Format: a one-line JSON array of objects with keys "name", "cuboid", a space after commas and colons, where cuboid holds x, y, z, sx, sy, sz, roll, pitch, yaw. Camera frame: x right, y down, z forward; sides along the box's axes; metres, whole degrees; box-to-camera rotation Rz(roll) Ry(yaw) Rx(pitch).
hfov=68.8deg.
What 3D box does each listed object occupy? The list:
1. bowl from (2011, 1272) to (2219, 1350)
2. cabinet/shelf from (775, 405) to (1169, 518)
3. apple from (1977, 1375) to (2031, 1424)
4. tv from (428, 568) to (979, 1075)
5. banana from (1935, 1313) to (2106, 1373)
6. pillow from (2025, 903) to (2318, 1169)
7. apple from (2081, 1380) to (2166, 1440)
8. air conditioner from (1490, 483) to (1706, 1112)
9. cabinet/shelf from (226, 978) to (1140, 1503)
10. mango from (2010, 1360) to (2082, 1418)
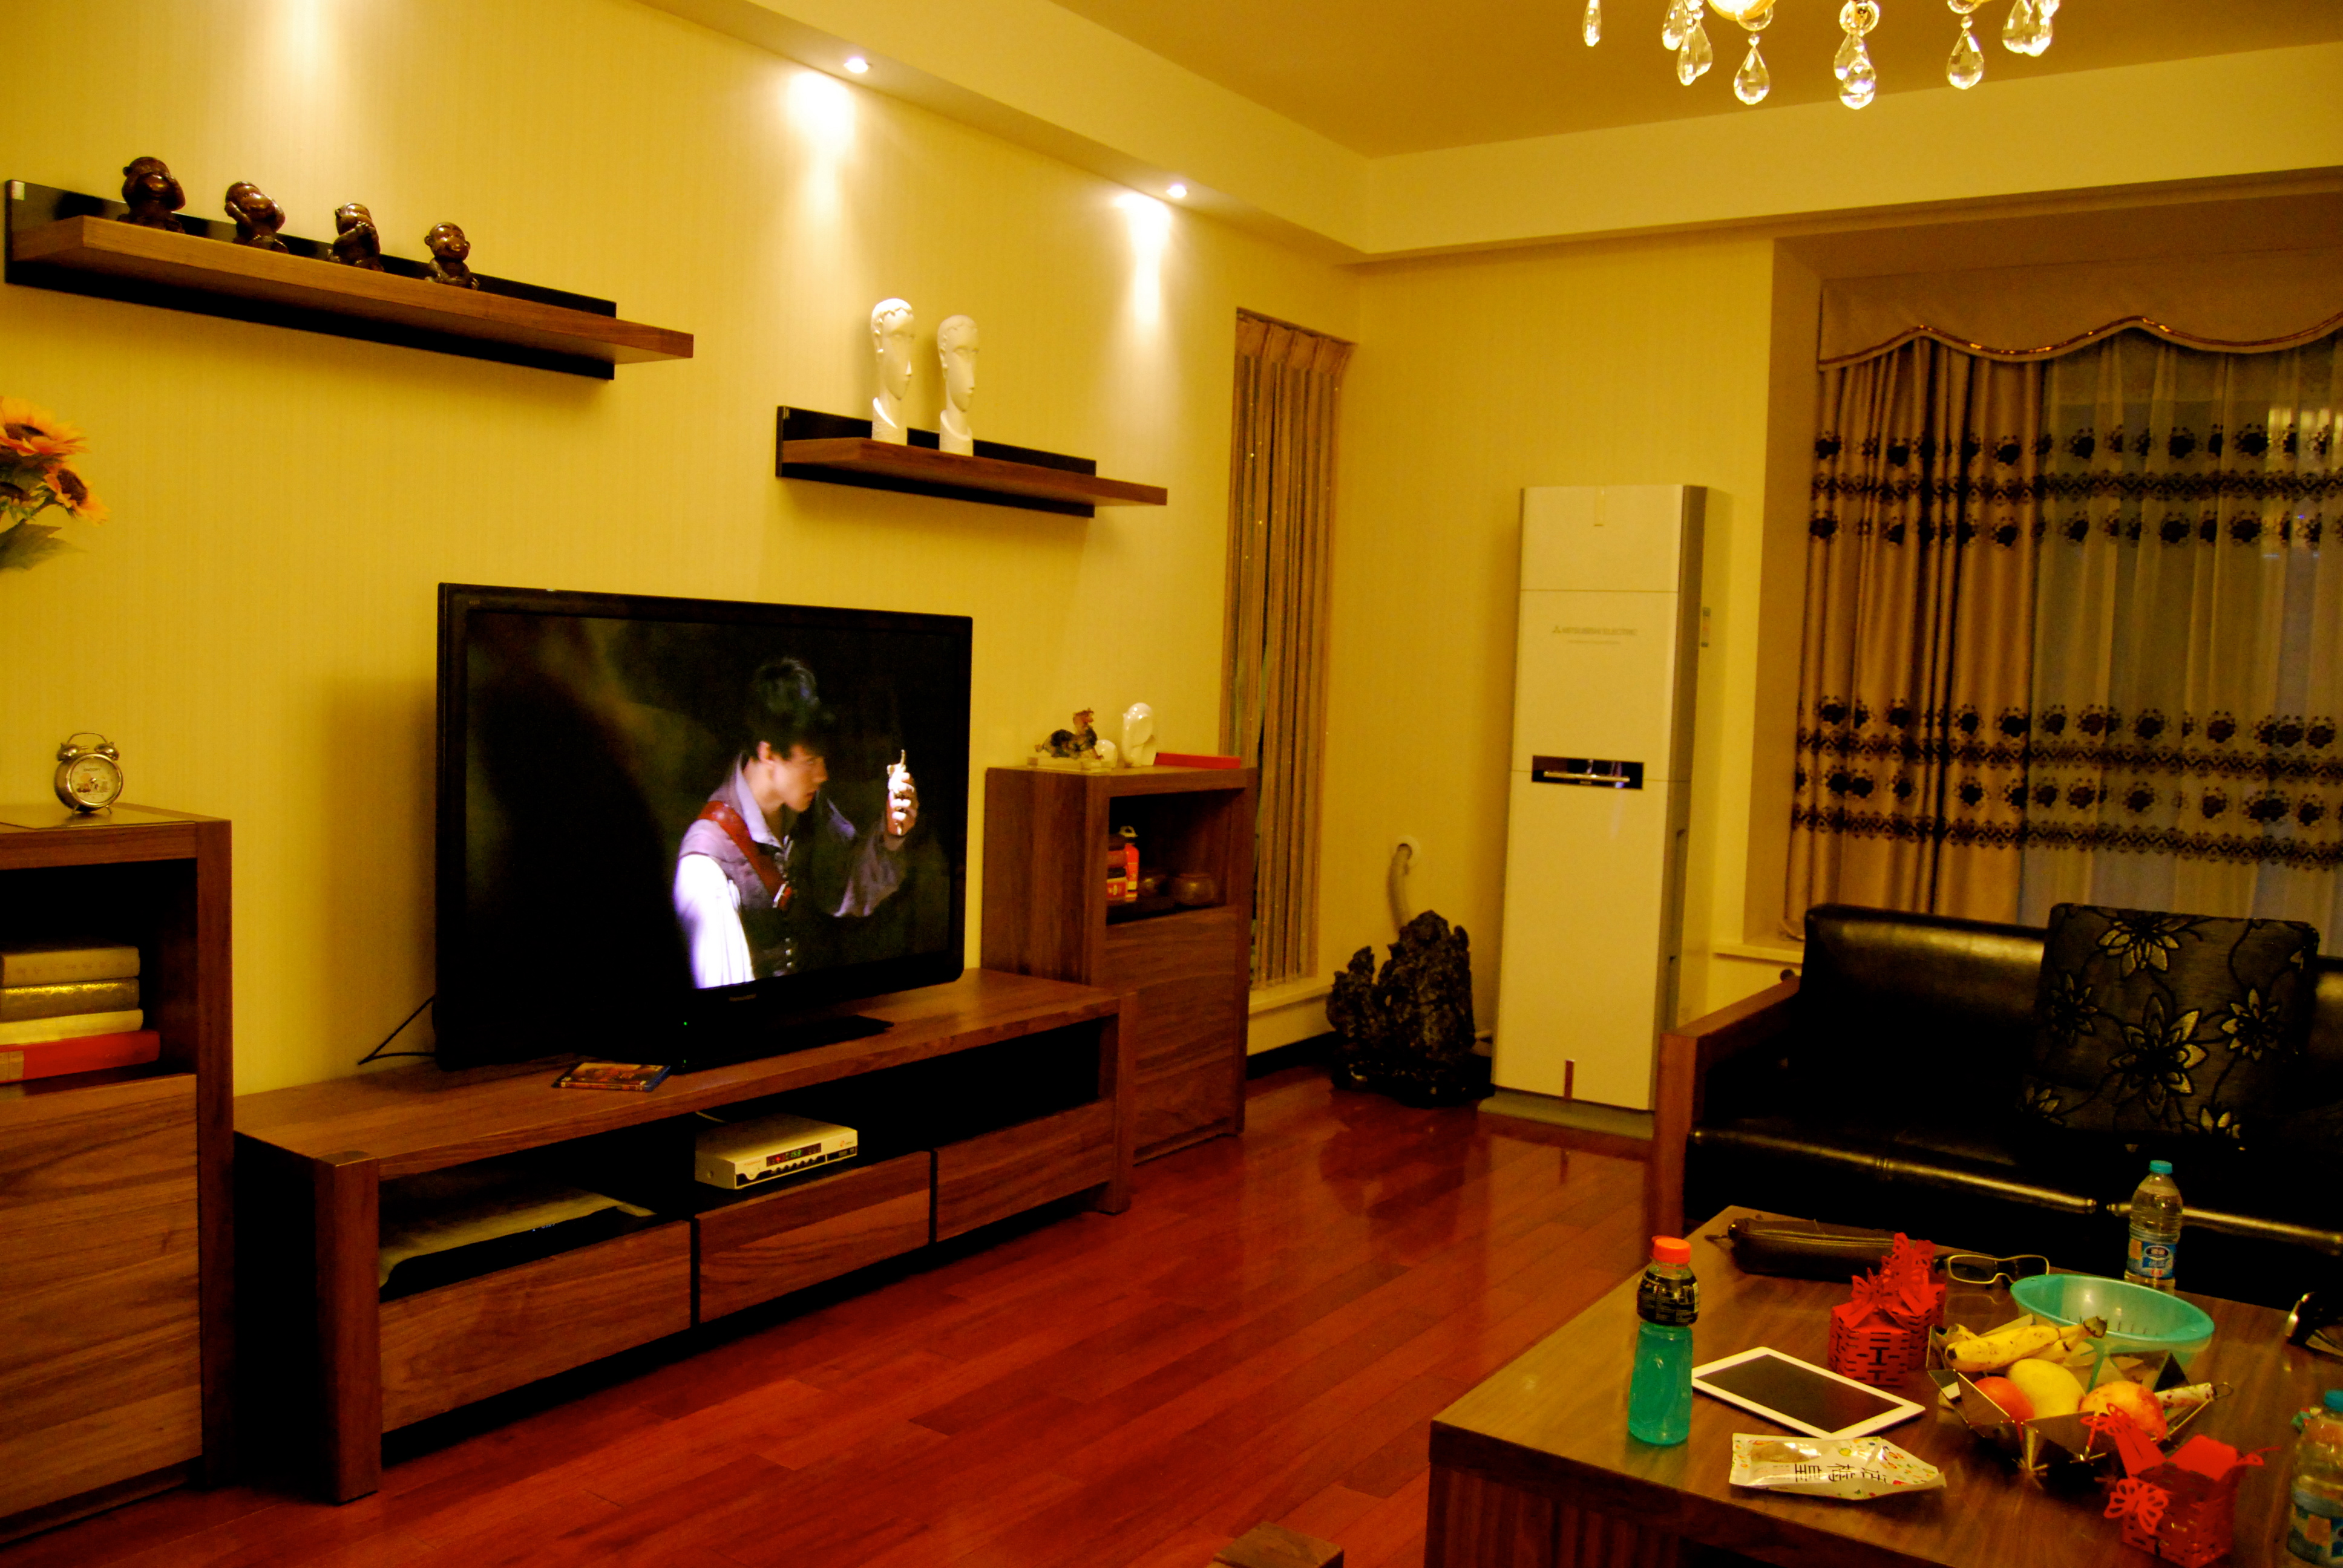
[{"name": "bowl", "cuboid": [1.821, 1.005, 3.264, 0.198, 0.070, 0.197, -1, 5, 0]}, {"name": "cabinet/shelf", "cuboid": [-0.592, -0.955, 5.164, 0.306, 0.294, 1.235, 11, 14, 43]}, {"name": "apple", "cuboid": [1.458, 1.058, 2.960, 0.053, 0.066, 0.057, 1, 10, 6]}, {"name": "tv", "cuboid": [-1.218, 0.105, 4.304, 0.356, 0.963, 1.380, 4, 5, 37]}, {"name": "banana", "cuboid": [1.546, 1.013, 3.099, 0.158, 0.057, 0.155, -1, -3, -28]}, {"name": "pillow", "cuboid": [2.592, 0.623, 4.395, 0.631, 0.656, 0.260, 6, -10, 36]}, {"name": "apple", "cuboid": [1.632, 1.047, 2.908, 0.095, 0.095, 0.114, 19, 21, 30]}, {"name": "air conditioner", "cuboid": [1.526, 0.045, 6.054, 0.654, 2.169, 0.451, 4, 10, 13]}, {"name": "cabinet/shelf", "cuboid": [-1.147, 0.971, 4.451, 2.376, 0.706, 0.695, -8, 14, -43]}, {"name": "mango", "cuboid": [1.538, 1.037, 2.984, 0.068, 0.060, 0.099, -2, 19, -33]}]
